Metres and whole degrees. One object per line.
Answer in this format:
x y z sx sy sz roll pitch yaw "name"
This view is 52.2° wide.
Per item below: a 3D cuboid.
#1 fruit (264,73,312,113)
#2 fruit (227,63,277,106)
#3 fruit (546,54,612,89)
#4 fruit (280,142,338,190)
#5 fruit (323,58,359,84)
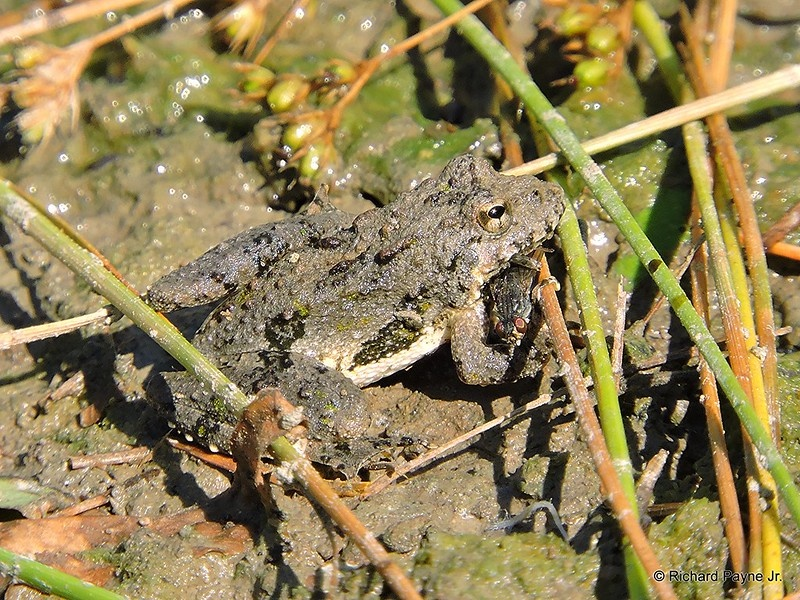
-0.753 -1.377 5.390 0.153 0.161 0.251 23 56 -2 "fruit"
-0.960 -1.415 5.504 0.292 0.136 0.291 -8 55 8 "fruit"
1.188 -1.467 5.285 0.330 0.157 0.148 -12 9 15 "fruit"
-0.584 -0.923 5.558 0.335 0.198 0.254 -42 95 20 "fruit"
-0.380 -1.478 5.232 0.177 0.098 0.146 20 45 34 "fruit"
